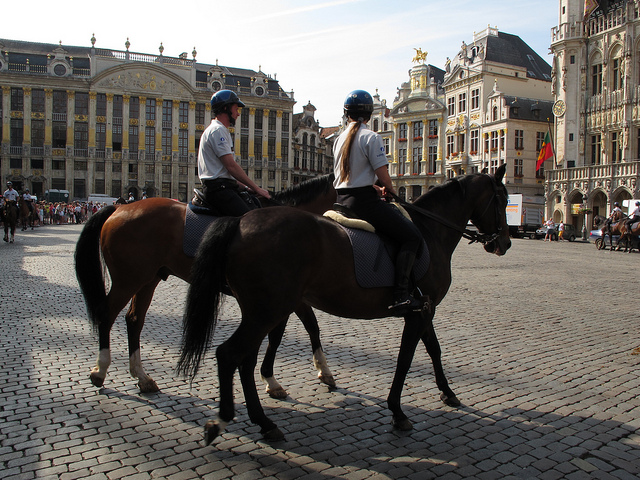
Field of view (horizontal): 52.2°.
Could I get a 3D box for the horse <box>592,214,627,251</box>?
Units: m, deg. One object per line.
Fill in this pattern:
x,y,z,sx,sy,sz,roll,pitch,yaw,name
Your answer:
14.112,-0.404,31.785,2.408,1.348,0.588,3,-7,-25,horse

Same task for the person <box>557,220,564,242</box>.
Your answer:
16.031,-0.452,43.277,0.393,1.116,1.099,5,10,19,person

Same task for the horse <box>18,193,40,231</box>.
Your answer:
-14.155,-1.079,31.633,0.746,1.306,2.495,-7,-10,-11,horse

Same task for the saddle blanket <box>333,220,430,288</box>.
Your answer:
0.718,0.129,6.817,1.305,0.655,0.755,0,8,-21,saddle blanket

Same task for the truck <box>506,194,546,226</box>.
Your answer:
15.441,-1.830,49.964,2.287,2.196,3.764,4,-1,-12,truck

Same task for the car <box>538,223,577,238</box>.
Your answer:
16.338,-0.576,44.144,1.935,0.767,1.065,1,1,-5,car

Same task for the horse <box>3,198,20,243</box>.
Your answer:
-11.653,-0.676,24.715,0.553,1.597,1.831,-3,10,-25,horse

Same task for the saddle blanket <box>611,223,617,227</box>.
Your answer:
14.184,-0.715,31.434,0.186,0.039,0.172,-18,15,-5,saddle blanket
